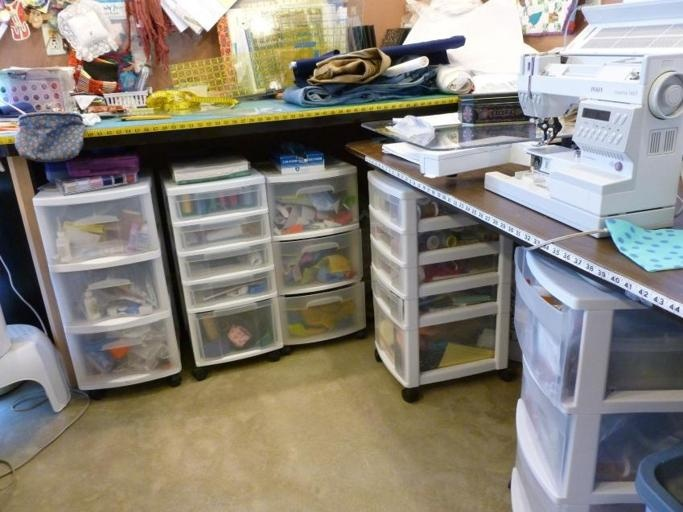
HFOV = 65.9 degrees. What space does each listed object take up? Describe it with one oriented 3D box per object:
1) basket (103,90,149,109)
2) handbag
[{"bbox_3d":[-1.015,-0.746,2.497,0.208,0.084,0.136,-11,24,-26],"label":"basket"},{"bbox_3d":[-1.065,-0.440,1.920,0.210,0.201,0.082,-5,3,-13],"label":"handbag"}]
